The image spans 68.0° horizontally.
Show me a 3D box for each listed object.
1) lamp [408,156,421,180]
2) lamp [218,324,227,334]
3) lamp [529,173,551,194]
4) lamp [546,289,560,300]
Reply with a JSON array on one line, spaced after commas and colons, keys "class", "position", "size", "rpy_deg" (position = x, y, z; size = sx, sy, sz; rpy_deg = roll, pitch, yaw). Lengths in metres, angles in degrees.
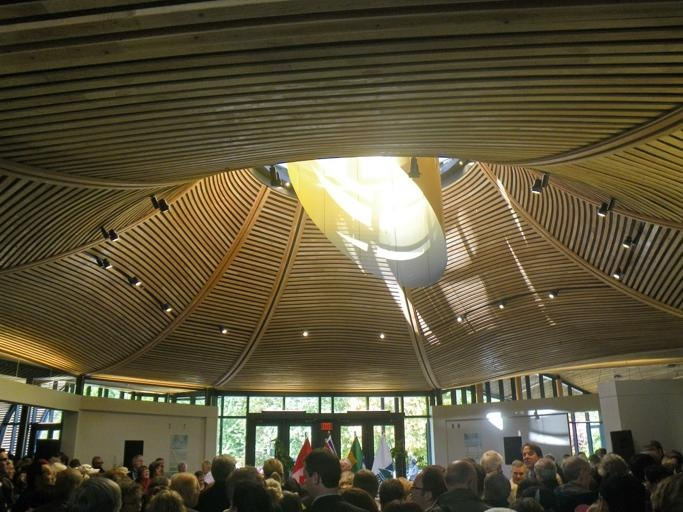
[{"class": "lamp", "position": [1.553, -1.867, 10.875], "size": [0.231, 0.568, 0.519], "rpy_deg": [-6, -23, 12]}, {"class": "lamp", "position": [-3.559, 2.206, 15.300], "size": [0.188, 0.164, 0.310], "rpy_deg": [-21, 10, -12]}, {"class": "lamp", "position": [4.010, -1.484, 10.306], "size": [0.310, 0.440, 0.501], "rpy_deg": [6, -15, 11]}, {"class": "lamp", "position": [5.500, 0.992, 13.210], "size": [0.274, 0.198, 0.417], "rpy_deg": [-5, -21, 11]}]
